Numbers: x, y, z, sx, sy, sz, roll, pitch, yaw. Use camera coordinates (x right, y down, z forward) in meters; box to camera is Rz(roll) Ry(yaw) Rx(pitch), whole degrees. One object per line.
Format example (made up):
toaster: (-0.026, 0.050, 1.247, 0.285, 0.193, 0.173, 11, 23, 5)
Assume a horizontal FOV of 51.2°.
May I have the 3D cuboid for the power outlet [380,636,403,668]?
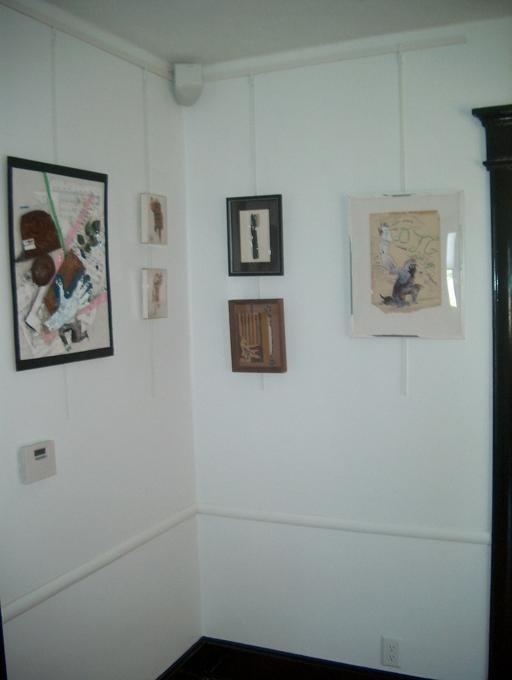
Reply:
power outlet: (0.460, 1.044, 1.806, 0.083, 0.140, 0.016, 5, 8, 30)
